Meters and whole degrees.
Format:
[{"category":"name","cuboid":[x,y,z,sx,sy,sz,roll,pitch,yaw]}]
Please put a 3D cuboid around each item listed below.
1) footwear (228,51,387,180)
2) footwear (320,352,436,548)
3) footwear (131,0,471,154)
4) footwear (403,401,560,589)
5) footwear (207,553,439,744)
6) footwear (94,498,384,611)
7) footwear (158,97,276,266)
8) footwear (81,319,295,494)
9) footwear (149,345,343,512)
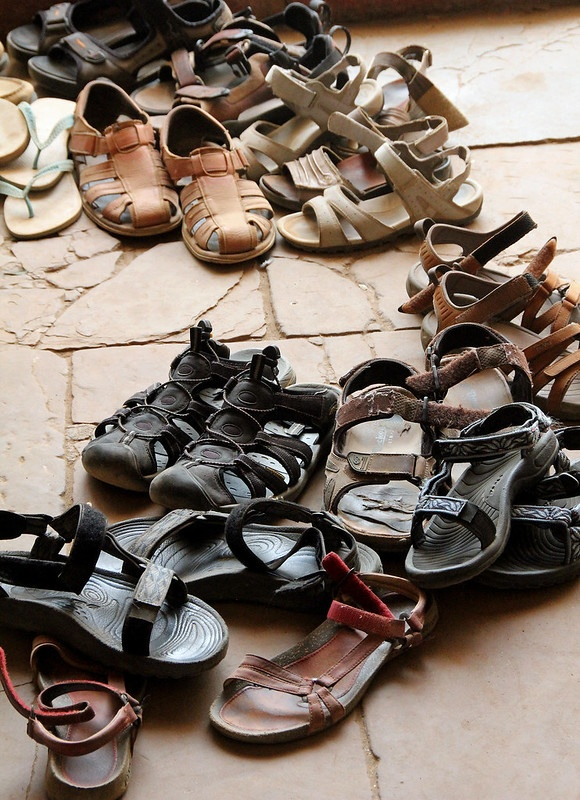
[{"category":"footwear","cuboid":[0.038,-1.062,2.607,0.667,0.256,0.214,-29,50,-15]},{"category":"footwear","cuboid":[0.174,0.085,1.410,0.168,0.163,0.417,1,33,8]},{"category":"footwear","cuboid":[-0.071,-1.219,2.957,1.716,0.453,0.560,-1,52,-6]},{"category":"footwear","cuboid":[0.331,0.132,1.274,0.166,0.146,0.456,0,28,41]},{"category":"footwear","cuboid":[0.078,0.391,1.146,0.398,0.144,0.180,-28,41,-32]},{"category":"footwear","cuboid":[-0.064,0.254,1.272,0.518,0.178,0.186,6,45,-1]},{"category":"footwear","cuboid":[-0.253,-0.735,2.427,0.338,0.207,0.711,-13,51,-18]},{"category":"footwear","cuboid":[-0.220,-0.029,1.685,0.224,0.250,0.618,24,46,31]},{"category":"footwear","cuboid":[-0.046,0.050,1.562,0.260,0.242,0.647,16,25,18]}]
